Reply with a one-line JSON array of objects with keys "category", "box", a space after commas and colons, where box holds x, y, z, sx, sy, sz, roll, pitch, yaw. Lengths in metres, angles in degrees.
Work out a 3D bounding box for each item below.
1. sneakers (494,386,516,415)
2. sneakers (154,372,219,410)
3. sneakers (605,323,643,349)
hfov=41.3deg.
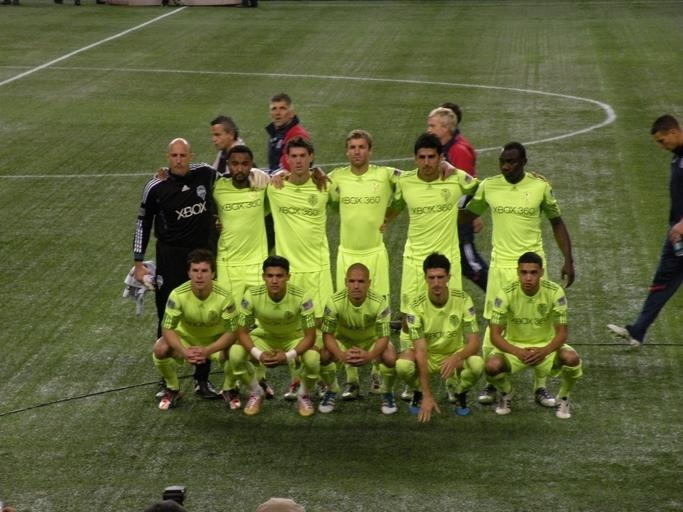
[{"category": "sneakers", "box": [1.586, 1.447, 8.957, 0.154, 0.124, 0.347, 3, 23, 26]}, {"category": "sneakers", "box": [-1.573, 1.393, 9.288, 0.752, 0.289, 0.186, -3, 59, -35]}, {"category": "sneakers", "box": [3.038, 0.870, 9.750, 0.448, 0.148, 0.188, 31, 79, 7]}]
